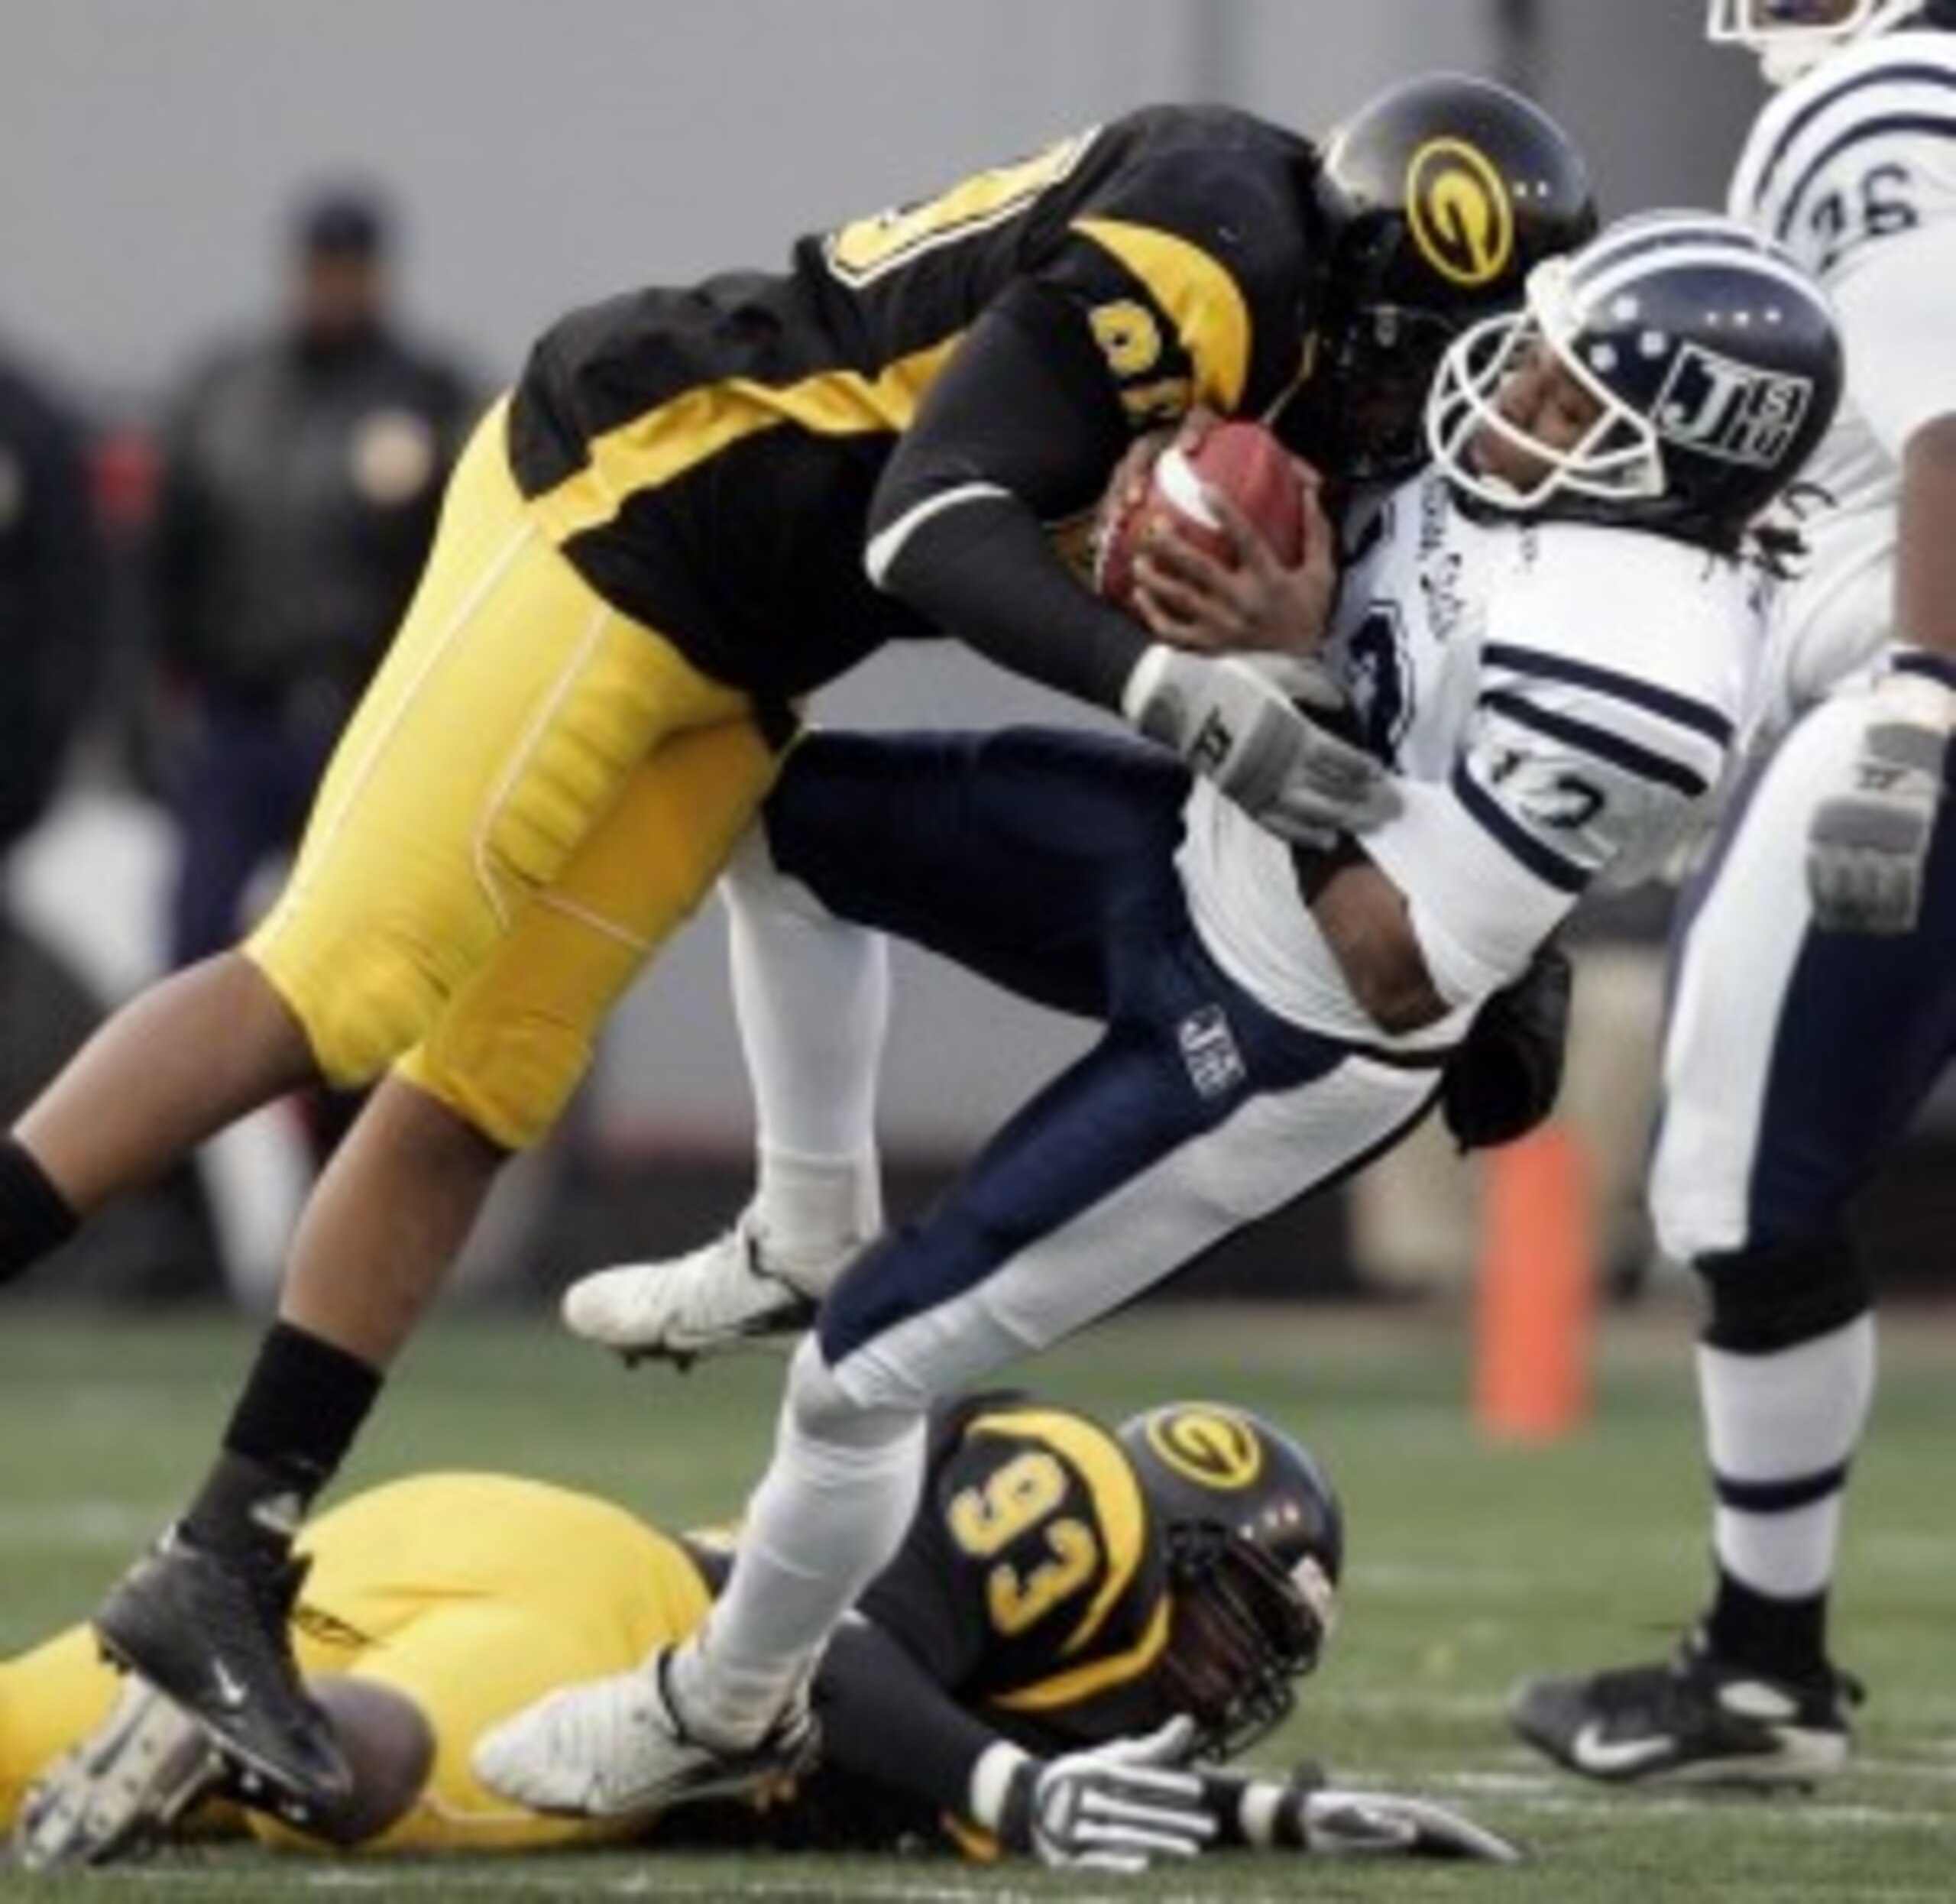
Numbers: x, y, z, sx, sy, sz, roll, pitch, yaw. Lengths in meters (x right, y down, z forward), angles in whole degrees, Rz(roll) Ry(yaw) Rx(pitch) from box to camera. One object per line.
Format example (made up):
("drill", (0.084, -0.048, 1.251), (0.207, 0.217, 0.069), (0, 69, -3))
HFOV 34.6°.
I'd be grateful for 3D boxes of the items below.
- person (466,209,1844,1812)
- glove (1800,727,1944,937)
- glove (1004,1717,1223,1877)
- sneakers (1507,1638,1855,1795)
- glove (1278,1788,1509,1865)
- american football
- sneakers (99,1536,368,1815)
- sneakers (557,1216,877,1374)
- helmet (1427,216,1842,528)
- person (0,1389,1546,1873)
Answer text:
("person", (0.204, 0.081, 2.785), (1.059, 1.382, 0.592), (1, -1, 14))
("glove", (0.832, -0.108, 2.872), (0.120, 0.192, 0.078), (-4, -35, 38))
("glove", (0.110, 0.708, 2.591), (0.126, 0.041, 0.125), (14, 29, 14))
("sneakers", (0.705, 0.788, 3.231), (0.377, 0.202, 0.133), (2, -19, 15))
("glove", (0.358, 0.756, 2.674), (0.132, 0.047, 0.085), (28, -17, -24))
("american football", (0.190, -0.356, 2.596), (0.154, 0.126, 0.119), (-18, 9, 8))
("sneakers", (-0.585, 0.590, 2.576), (0.227, 0.156, 0.155), (1, -2, 24))
("sneakers", (-0.278, 0.344, 3.240), (0.365, 0.188, 0.129), (-6, 26, 13))
("helmet", (0.561, -0.491, 2.580), (0.328, 0.223, 0.245), (-6, 42, -10))
("person", (-0.195, 0.613, 2.688), (0.891, 0.260, 0.591), (4, -7, -12))
